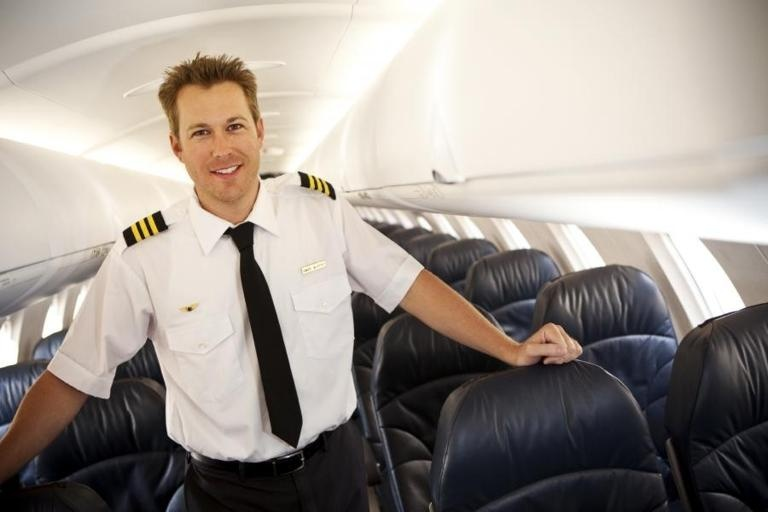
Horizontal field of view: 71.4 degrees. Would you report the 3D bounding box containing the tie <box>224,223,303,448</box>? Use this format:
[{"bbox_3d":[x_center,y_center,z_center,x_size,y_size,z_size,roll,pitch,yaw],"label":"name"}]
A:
[{"bbox_3d":[-0.514,0.257,2.273,0.183,1.066,0.079,-13,-7,-14],"label":"tie"}]
